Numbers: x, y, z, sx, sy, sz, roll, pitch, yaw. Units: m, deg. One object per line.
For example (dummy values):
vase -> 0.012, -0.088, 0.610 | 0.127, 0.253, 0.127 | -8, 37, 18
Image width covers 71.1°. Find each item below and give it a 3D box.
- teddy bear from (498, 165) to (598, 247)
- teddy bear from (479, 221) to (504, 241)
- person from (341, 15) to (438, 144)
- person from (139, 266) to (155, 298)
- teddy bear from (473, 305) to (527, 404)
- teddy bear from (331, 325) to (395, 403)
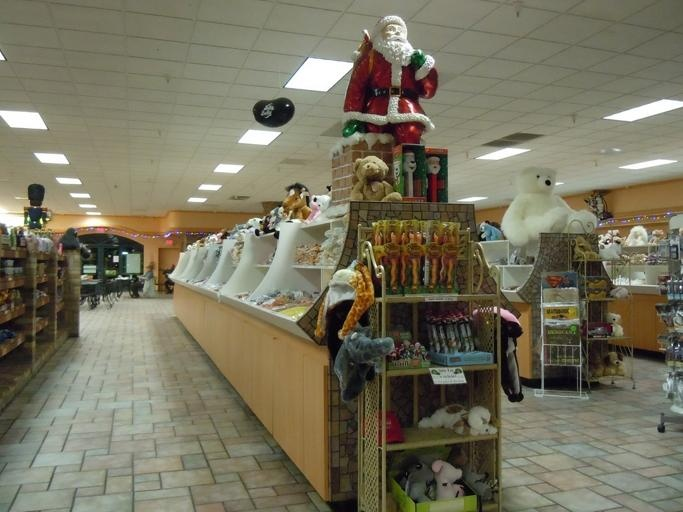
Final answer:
teddy bear -> 2.642, -0.601, 6.505 | 1.551, 1.219, 1.062 | -4, 0, -30
teddy bear -> 2.655, -0.427, 8.518 | 0.410, 0.195, 0.526 | 1, 5, 0
person -> 0.427, -1.382, 4.147 | 0.767, 1.386, 0.520 | 1, -3, 5
person -> -8.422, 1.014, 20.752 | 0.411, 1.371, 2.644 | 1, -2, -22
teddy bear -> 1.125, 0.664, 3.214 | 0.168, 0.631, 0.331 | 0, -2, 20
teddy bear -> 0.098, 0.618, 2.774 | 0.415, 0.402, 0.198 | -12, 26, 44
